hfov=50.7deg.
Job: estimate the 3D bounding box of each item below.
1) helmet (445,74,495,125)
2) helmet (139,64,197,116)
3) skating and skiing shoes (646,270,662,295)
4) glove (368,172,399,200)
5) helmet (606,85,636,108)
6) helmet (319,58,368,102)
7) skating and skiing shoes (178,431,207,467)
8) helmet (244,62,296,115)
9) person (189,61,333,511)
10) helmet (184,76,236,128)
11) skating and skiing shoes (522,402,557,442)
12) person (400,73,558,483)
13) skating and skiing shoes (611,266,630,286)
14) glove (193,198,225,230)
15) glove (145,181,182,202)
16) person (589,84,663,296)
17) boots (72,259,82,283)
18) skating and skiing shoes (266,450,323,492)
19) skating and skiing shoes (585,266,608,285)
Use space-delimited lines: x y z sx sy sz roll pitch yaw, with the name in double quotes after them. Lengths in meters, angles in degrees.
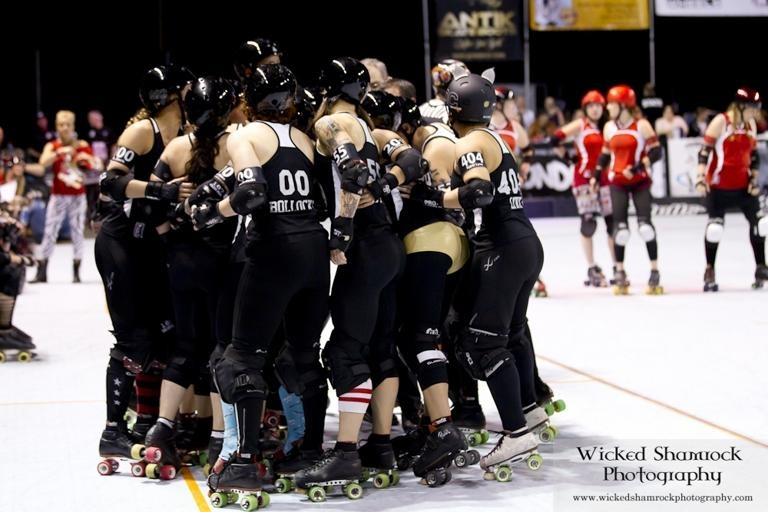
0.673 -1.286 6.516 0.387 0.502 0.505 1 3 -9 "helmet"
-1.770 -1.348 6.578 0.411 0.404 0.326 -35 19 -20 "helmet"
3.949 0.359 11.812 0.208 0.353 0.269 -1 3 20 "skating and skiing shoes"
-0.008 -0.530 6.047 0.244 0.100 0.146 -44 13 -27 "glove"
3.500 -2.434 12.148 0.368 0.361 0.434 0 19 -32 "helmet"
-0.293 -1.377 6.211 0.359 0.336 0.299 9 18 -2 "helmet"
-1.557 1.570 6.598 0.202 0.229 0.093 -2 1 -4 "skating and skiing shoes"
-0.844 -1.204 6.079 0.386 0.480 0.547 -10 12 -19 "helmet"
-0.843 0.156 5.881 0.926 3.113 0.416 -2 3 -14 "person"
-1.362 -1.198 6.249 0.446 0.423 0.347 -8 24 -25 "helmet"
1.303 1.401 6.652 0.173 0.396 0.256 -21 21 27 "skating and skiing shoes"
0.819 0.093 6.376 0.792 3.198 0.849 0 3 27 "person"
3.530 0.317 12.120 0.179 0.216 0.480 -2 -7 8 "skating and skiing shoes"
-1.278 -0.325 5.862 0.195 0.213 0.084 -18 33 20 "glove"
-1.701 -0.507 6.209 0.191 0.093 0.161 0 0 7 "glove"
3.653 -1.038 12.115 0.937 3.138 0.895 -1 3 19 "person"
-5.475 0.226 14.401 0.148 0.420 0.893 -3 3 -22 "boots"
-0.671 1.634 6.133 0.388 0.225 0.228 -1 -4 1 "skating and skiing shoes"
3.339 0.323 12.764 0.174 0.261 0.535 -2 -3 -6 "skating and skiing shoes"
